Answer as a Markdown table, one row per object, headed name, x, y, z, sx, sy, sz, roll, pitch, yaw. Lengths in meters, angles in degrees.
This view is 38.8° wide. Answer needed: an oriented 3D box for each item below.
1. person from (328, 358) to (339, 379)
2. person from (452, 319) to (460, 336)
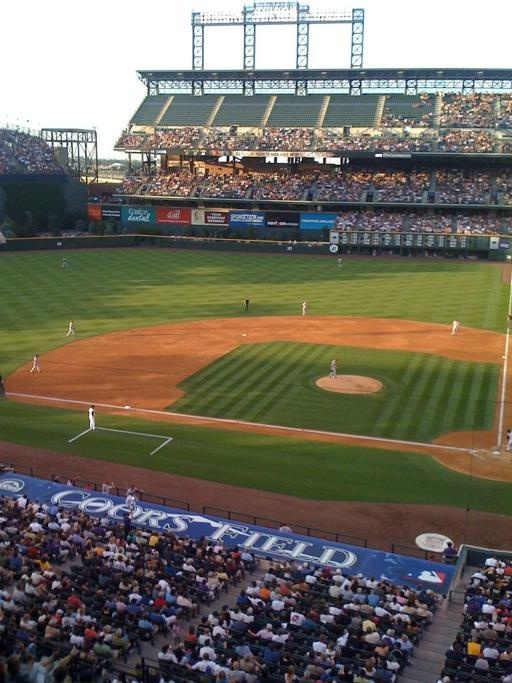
| name | x | y | z | sx | sy | sz | roll | pitch | yaw |
| --- | --- | --- | --- | --- | --- | --- | --- | --- | --- |
| person | 3.811 | 1.421 | 35.907 | 0.462 | 1.067 | 0.426 | -4 | 36 | 0 |
| person | 12.285 | -0.802 | 44.746 | 0.604 | 0.261 | 1.511 | 10 | 17 | 12 |
